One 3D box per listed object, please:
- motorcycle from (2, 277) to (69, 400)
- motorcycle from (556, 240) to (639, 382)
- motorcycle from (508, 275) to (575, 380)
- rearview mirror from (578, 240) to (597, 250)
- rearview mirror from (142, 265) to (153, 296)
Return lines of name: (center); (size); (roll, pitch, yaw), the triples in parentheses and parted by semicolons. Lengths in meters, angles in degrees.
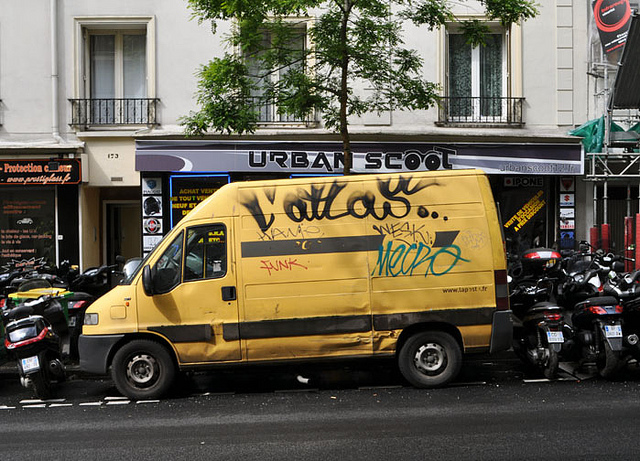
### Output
motorcycle: (-5.070, 1.921, 19.403); (1.011, 2.053, 1.125); (-2, 2, -13)
motorcycle: (5.050, 1.674, 20.619); (1.126, 1.663, 2.753); (0, 0, 2)
motorcycle: (4.108, 1.659, 20.368); (1.075, 1.632, 2.825); (-1, 5, -2)
rearview mirror: (6.129, 0.322, 24.667); (0.489, 0.120, 0.111); (16, -24, -40)
rearview mirror: (-3.002, 0.859, 18.941); (0.150, 0.513, 0.157); (-3, 3, -30)
